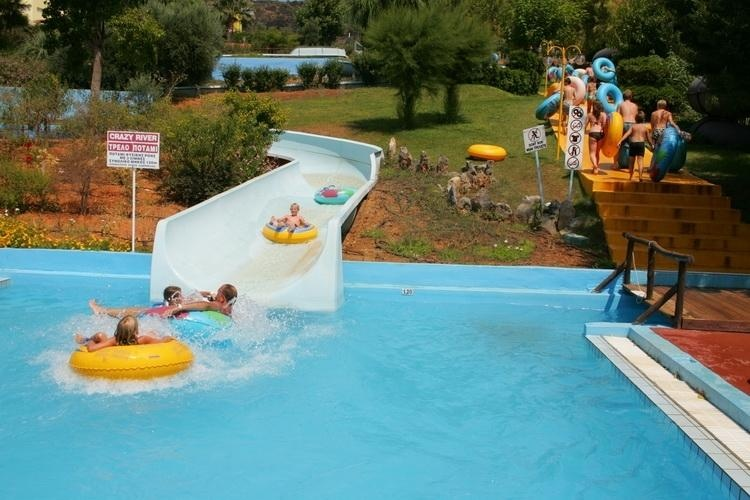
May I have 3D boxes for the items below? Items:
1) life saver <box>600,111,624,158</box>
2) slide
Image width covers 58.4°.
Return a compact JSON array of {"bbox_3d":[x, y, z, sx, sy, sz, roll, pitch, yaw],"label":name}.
[{"bbox_3d":[8.020,-4.103,22.715,0.512,1.804,1.792,7,59,17],"label":"life saver"},{"bbox_3d":[-2.566,-1.785,22.943,5.086,3.649,14.319,2,13,4],"label":"slide"}]
